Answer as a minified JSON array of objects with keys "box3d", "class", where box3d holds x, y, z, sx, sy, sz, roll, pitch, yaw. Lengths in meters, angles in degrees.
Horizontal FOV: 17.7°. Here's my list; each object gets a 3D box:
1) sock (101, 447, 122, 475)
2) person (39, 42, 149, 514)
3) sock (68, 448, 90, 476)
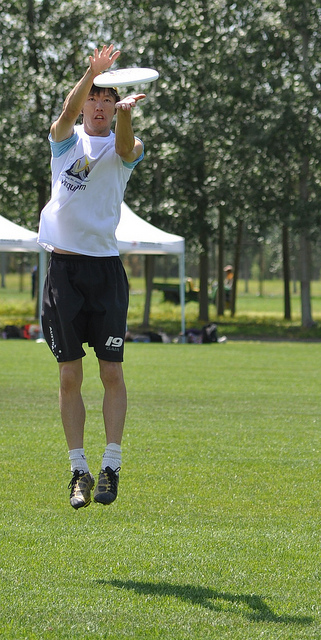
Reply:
[{"box3d":[-0.217,0.605,4.533,0.068,0.118,0.109,12,-11,-13],"class":"sock"},{"box3d":[-0.341,-0.217,4.586,0.496,2.006,0.502,1,2,14],"class":"person"},{"box3d":[-0.367,0.622,4.566,0.094,0.136,0.085,0,-15,-27],"class":"sock"}]
